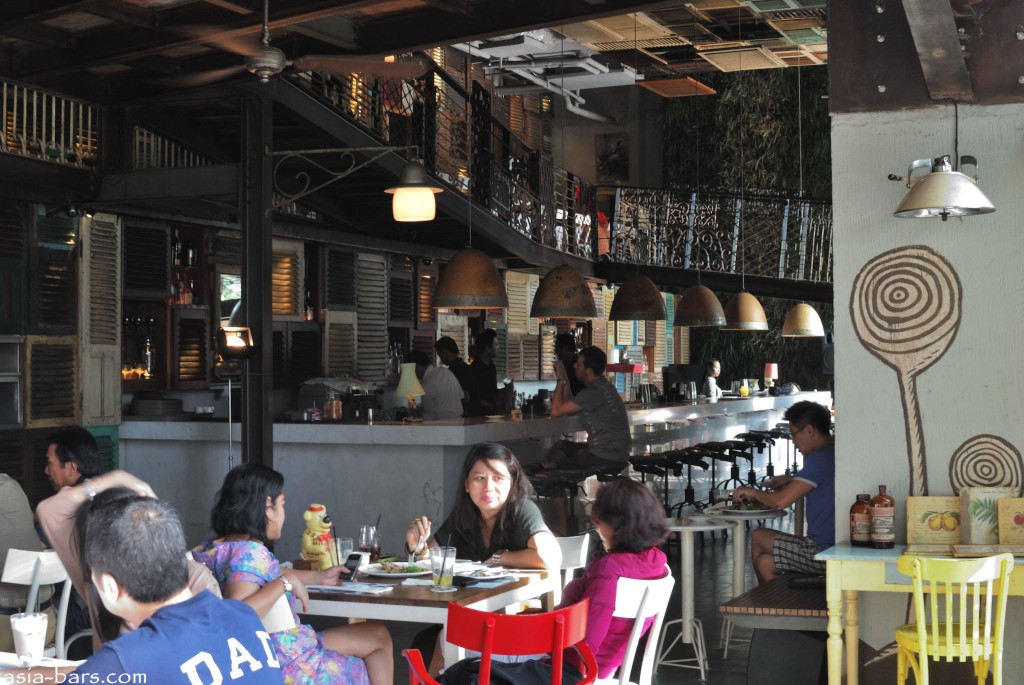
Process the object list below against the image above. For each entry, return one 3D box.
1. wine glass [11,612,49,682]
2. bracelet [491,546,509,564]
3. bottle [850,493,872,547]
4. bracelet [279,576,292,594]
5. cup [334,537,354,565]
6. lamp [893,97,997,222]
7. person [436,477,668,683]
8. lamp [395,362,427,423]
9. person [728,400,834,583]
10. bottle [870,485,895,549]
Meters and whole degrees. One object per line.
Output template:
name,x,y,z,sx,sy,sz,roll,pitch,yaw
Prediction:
wine glass,-1.943,1.219,4.744,0.131,0.202,0.587,1,-5,-23
bracelet,-0.054,1.161,6.431,0.084,0.083,0.070,-24,20,-32
bottle,1.880,0.960,6.372,0.110,0.264,0.150,-2,-5,15
bracelet,-1.034,1.121,5.416,0.036,0.074,0.056,-16,-3,-6
cup,-0.916,1.144,6.414,0.123,0.148,0.127,-1,-5,0
lamp,2.245,-0.987,6.249,0.530,0.666,0.625,-3,-5,22
person,0.263,1.189,6.111,0.996,1.461,0.855,1,-7,4
lamp,-0.871,0.400,10.022,0.237,0.487,0.663,-1,-5,-5
person,1.754,0.950,7.480,0.643,1.182,1.121,-1,-5,6
bottle,2.011,0.937,6.364,0.108,0.321,0.272,-4,-5,31
